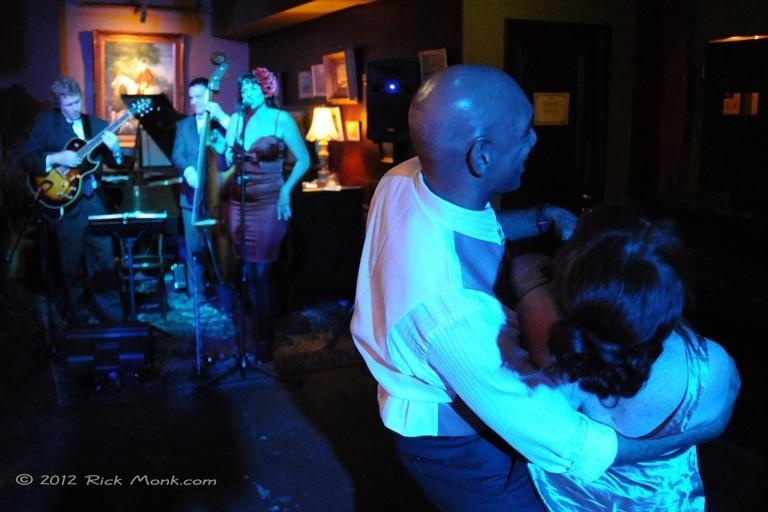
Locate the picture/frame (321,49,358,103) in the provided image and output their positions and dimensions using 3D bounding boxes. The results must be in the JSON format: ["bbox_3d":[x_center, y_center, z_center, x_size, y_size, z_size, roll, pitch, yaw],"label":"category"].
[{"bbox_3d":[-0.461,-1.814,6.874,0.491,0.516,0.217,10,17,43],"label":"picture/frame"}]

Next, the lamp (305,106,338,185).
[{"bbox_3d":[-0.613,-1.066,6.718,0.363,0.765,0.348,-5,15,-22],"label":"lamp"}]

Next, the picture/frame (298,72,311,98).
[{"bbox_3d":[-0.907,-1.945,7.649,0.047,0.301,0.332,-2,4,-21],"label":"picture/frame"}]

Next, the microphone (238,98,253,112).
[{"bbox_3d":[-0.890,-0.983,4.312,0.088,0.055,0.116,-4,32,-28],"label":"microphone"}]
